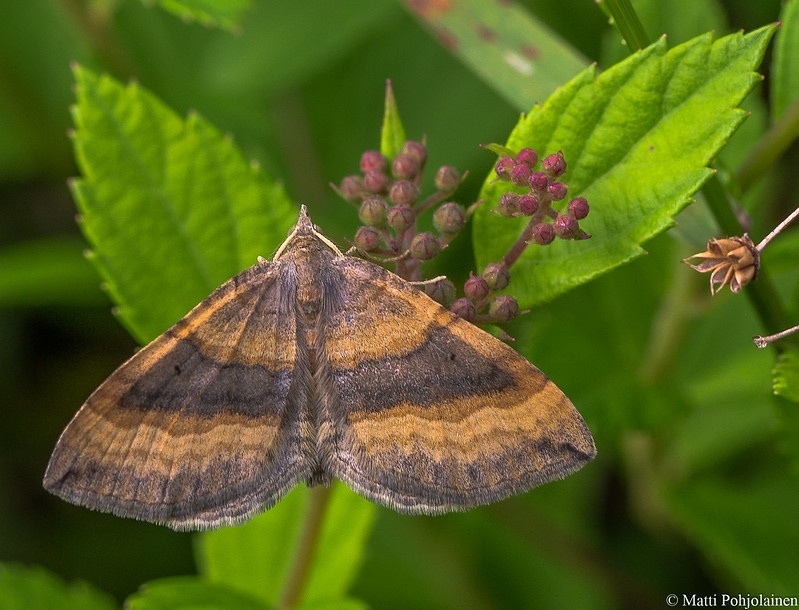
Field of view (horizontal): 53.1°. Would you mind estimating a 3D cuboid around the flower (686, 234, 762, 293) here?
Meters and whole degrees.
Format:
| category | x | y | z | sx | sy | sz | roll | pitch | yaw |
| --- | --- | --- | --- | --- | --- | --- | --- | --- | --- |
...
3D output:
| category | x | y | z | sx | sy | sz | roll | pitch | yaw |
| --- | --- | --- | --- | --- | --- | --- | --- | --- | --- |
| flower | 1.429 | -0.229 | 3.602 | 0.323 | 0.276 | 0.137 | -14 | 25 | 20 |
